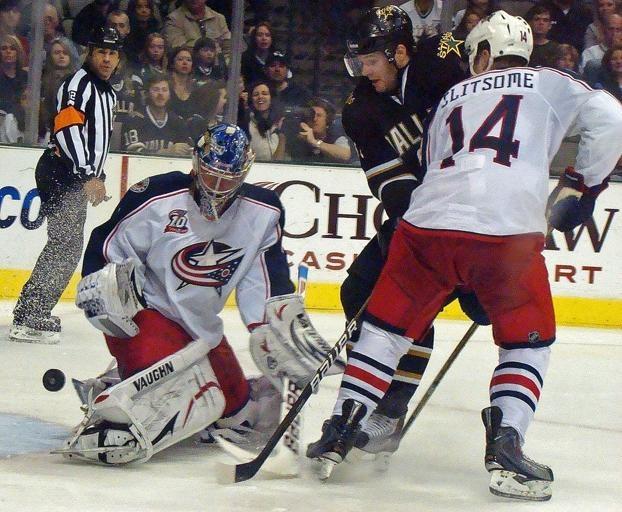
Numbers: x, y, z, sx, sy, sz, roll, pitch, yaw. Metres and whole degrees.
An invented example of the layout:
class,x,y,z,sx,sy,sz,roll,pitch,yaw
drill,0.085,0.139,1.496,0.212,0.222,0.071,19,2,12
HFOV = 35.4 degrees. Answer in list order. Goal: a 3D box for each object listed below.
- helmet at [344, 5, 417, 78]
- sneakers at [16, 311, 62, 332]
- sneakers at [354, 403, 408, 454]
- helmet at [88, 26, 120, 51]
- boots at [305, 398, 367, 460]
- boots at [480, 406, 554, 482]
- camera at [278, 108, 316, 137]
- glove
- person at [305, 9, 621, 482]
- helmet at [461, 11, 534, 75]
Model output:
class,x,y,z,sx,sy,sz,roll,pitch,yaw
helmet,0.284,-0.976,4.435,0.382,0.285,0.269,-8,20,-5
sneakers,-1.675,0.411,6.030,0.187,0.052,0.132,4,1,2
sneakers,0.291,0.736,4.010,0.109,0.122,0.314,15,-6,23
helmet,-1.321,-1.418,6.326,0.163,0.185,0.175,8,-7,-20
boots,0.120,0.717,3.909,0.142,0.251,0.396,24,-10,5
boots,0.780,0.749,3.731,0.394,0.245,0.126,29,-32,-34
camera,-0.114,-1.064,7.751,0.248,0.209,0.153,0,13,-1
glove,1.099,-0.230,4.041,0.191,0.288,0.328,27,23,38
person,0.631,0.059,3.778,0.997,1.588,0.611,5,9,13
helmet,0.765,-0.871,3.975,0.215,0.221,0.263,2,9,-39
